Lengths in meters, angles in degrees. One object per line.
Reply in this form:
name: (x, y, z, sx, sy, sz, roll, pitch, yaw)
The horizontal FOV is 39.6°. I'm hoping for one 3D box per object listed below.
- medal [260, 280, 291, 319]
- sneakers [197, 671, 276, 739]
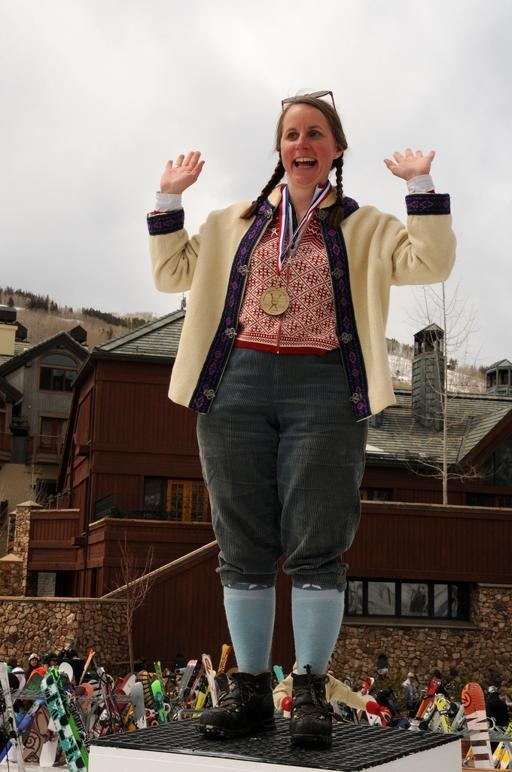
medal: (0.065, -0.275, 2.310, 0.151, 0.170, 0.020, -3, -36, 6)
sneakers: (-0.061, 0.912, 2.038, 0.123, 0.177, 0.359, -10, -23, 26)
